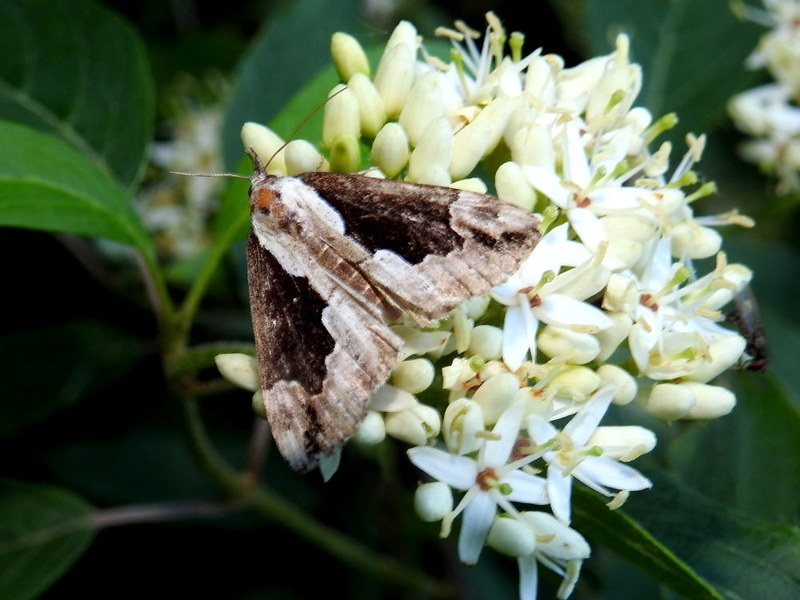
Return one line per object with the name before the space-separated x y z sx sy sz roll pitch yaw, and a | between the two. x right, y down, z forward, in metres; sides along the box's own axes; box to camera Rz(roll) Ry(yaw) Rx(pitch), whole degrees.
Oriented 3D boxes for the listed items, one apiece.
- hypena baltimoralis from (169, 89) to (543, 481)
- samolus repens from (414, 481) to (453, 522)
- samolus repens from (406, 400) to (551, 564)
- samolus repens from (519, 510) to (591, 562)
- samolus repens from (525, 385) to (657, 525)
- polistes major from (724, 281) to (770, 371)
hypena baltimoralis | -0.088 -0.071 1.518 0.584 0.131 0.450 -39 74 -11
samolus repens | 0.046 0.355 1.489 0.059 0.060 0.067 14 106 -18
samolus repens | 0.146 0.299 1.450 0.208 0.101 0.205 -29 72 -8
samolus repens | 0.271 0.394 1.482 0.081 0.097 0.097 14 103 40
samolus repens | 0.307 0.254 1.515 0.217 0.082 0.237 45 71 -21
polistes major | 0.664 0.058 1.647 0.067 0.067 0.186 11 112 36
